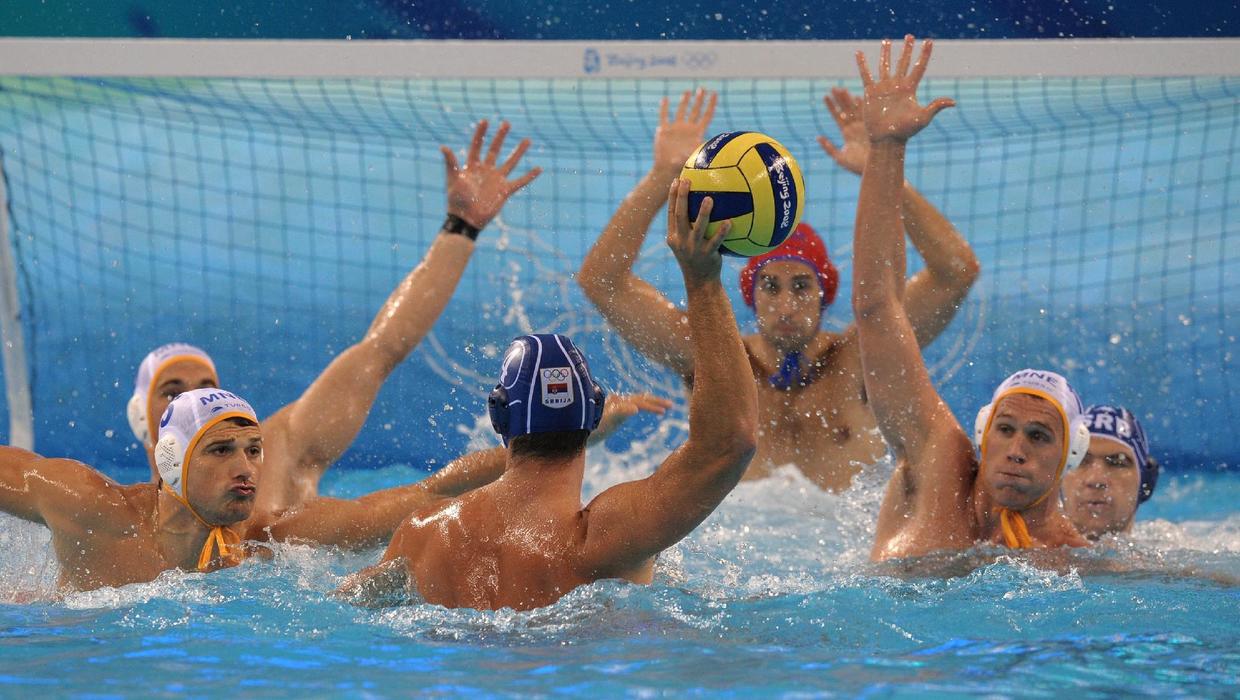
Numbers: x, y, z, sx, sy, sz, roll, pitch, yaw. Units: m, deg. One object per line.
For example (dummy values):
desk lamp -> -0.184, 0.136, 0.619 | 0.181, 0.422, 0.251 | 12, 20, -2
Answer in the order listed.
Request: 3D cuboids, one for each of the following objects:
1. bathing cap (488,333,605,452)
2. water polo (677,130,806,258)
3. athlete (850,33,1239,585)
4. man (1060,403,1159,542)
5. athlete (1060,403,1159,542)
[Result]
bathing cap -> -0.303, 0.177, 6.008 | 0.662, 0.567, 0.628 | -4, 5, -1
water polo -> 0.569, -0.728, 5.976 | 0.625, 0.573, 0.571 | -8, 1, -7
athlete -> 2.797, -0.295, 7.991 | 3.385, 3.727, 1.273 | 2, -1, -10
man -> 2.880, 0.694, 7.579 | 0.668, 0.763, 0.816 | 5, 1, 30
athlete -> 2.883, 0.686, 7.571 | 0.664, 0.759, 0.803 | 5, 3, 16
